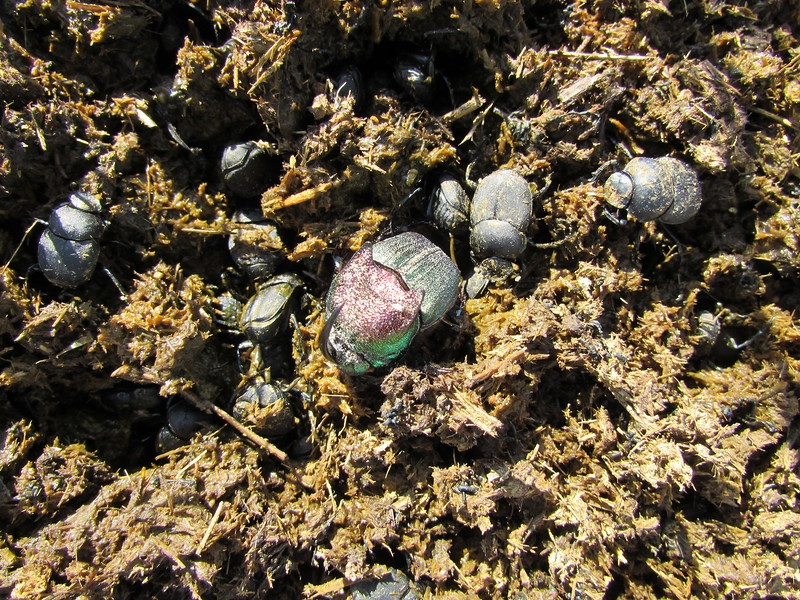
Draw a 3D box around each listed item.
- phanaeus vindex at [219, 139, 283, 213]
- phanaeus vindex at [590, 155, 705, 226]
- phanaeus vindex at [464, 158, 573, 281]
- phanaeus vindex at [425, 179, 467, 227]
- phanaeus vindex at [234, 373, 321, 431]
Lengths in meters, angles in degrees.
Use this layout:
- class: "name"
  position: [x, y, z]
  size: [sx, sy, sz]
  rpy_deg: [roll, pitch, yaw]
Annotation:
- class: "phanaeus vindex"
  position: [-0.794, -0.694, 3.966]
  size: [0.266, 0.285, 0.214]
  rpy_deg: [8, 56, 17]
- class: "phanaeus vindex"
  position: [1.323, -0.580, 3.924]
  size: [0.507, 0.260, 0.296]
  rpy_deg: [-6, 52, 6]
- class: "phanaeus vindex"
  position: [0.526, -0.409, 3.880]
  size: [0.302, 0.357, 0.459]
  rpy_deg: [2, 53, 13]
- class: "phanaeus vindex"
  position: [0.252, -0.512, 3.969]
  size: [0.211, 0.179, 0.237]
  rpy_deg: [-29, 53, -11]
- class: "phanaeus vindex"
  position: [-0.681, 0.567, 3.962]
  size: [0.410, 0.217, 0.288]
  rpy_deg: [-22, 52, -7]
